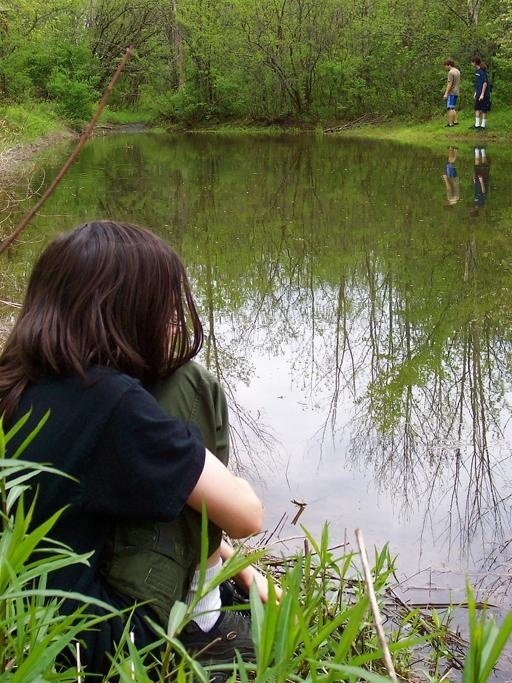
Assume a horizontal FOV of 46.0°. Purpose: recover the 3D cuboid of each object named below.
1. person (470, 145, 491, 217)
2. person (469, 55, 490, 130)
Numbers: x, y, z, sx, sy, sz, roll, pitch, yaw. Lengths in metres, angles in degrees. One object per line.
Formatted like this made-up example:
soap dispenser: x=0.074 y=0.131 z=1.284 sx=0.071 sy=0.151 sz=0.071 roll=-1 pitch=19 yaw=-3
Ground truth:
person: x=3.441 y=-2.541 z=9.325 sx=0.256 sy=0.309 sz=1.376 roll=0 pitch=-26 yaw=18
person: x=5.361 y=-5.963 z=14.418 sx=0.435 sy=1.608 sz=1.943 roll=4 pitch=8 yaw=19
